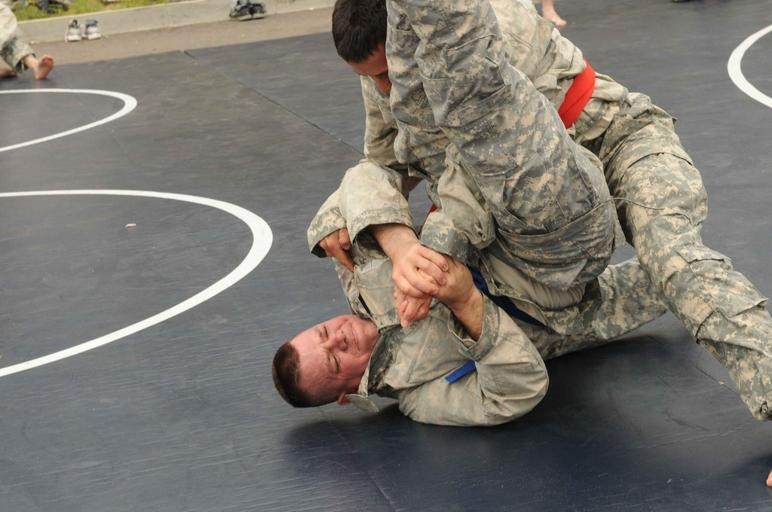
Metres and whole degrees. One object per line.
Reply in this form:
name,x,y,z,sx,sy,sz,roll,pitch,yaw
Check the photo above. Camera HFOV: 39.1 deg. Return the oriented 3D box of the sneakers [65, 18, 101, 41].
sneakers,-3.289,-2.479,11.859,0.298,0.172,0.458,-4,15,-15
